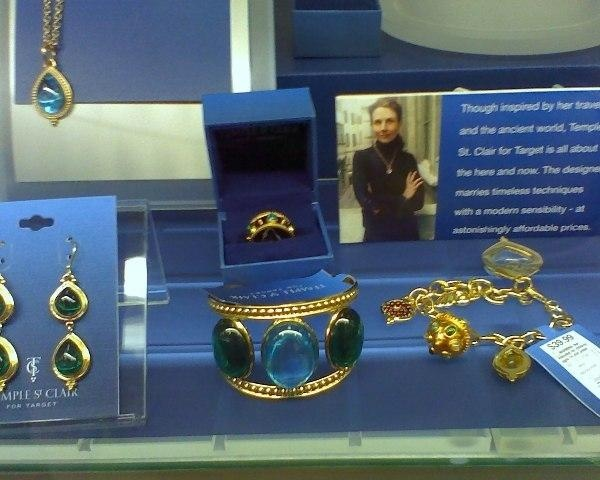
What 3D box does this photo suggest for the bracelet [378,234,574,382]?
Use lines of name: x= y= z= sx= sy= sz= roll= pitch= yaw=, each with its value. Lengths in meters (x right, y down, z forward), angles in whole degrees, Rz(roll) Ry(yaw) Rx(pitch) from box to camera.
bracelet: x=0.250 y=0.087 z=0.861 sx=0.181 sy=0.039 sz=0.188 roll=1 pitch=34 yaw=20

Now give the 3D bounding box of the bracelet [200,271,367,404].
bracelet: x=-0.027 y=0.084 z=0.796 sx=0.183 sy=0.142 sz=0.176 roll=-3 pitch=37 yaw=-3

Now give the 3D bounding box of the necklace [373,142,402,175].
necklace: x=0.130 y=-0.123 z=0.917 sx=0.030 sy=0.044 sz=0.012 roll=1 pitch=3 yaw=3
